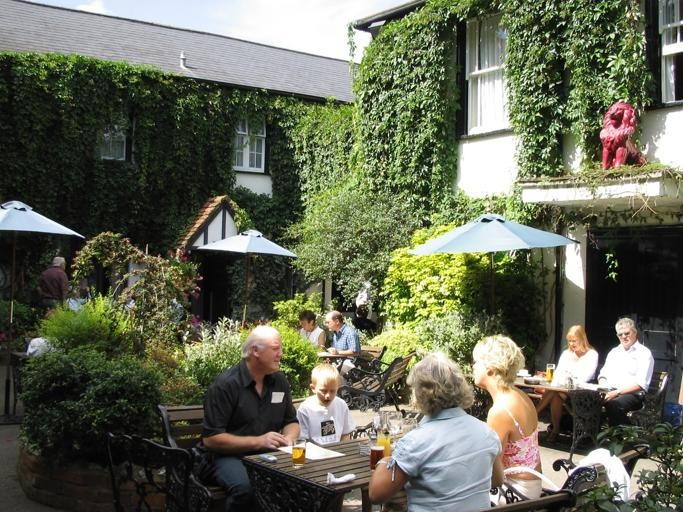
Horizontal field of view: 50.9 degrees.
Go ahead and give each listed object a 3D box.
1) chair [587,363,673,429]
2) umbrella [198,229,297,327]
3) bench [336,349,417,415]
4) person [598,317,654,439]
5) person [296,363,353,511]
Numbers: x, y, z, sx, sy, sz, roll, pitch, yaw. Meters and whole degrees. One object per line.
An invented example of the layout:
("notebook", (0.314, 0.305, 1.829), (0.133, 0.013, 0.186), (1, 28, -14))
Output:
("chair", (4.312, 2.048, 10.501), (0.894, 1.243, 0.838), (6, -13, -16))
("umbrella", (-2.036, 0.518, 15.690), (1.811, 2.192, 2.025), (6, -1, -8))
("bench", (0.551, 2.160, 12.061), (0.878, 0.885, 1.402), (1, -4, 19))
("person", (4.072, 1.897, 10.643), (0.920, 1.959, 0.729), (7, -2, -45))
("person", (-0.206, 1.860, 8.029), (0.702, 1.282, 0.662), (-4, 1, -8))
